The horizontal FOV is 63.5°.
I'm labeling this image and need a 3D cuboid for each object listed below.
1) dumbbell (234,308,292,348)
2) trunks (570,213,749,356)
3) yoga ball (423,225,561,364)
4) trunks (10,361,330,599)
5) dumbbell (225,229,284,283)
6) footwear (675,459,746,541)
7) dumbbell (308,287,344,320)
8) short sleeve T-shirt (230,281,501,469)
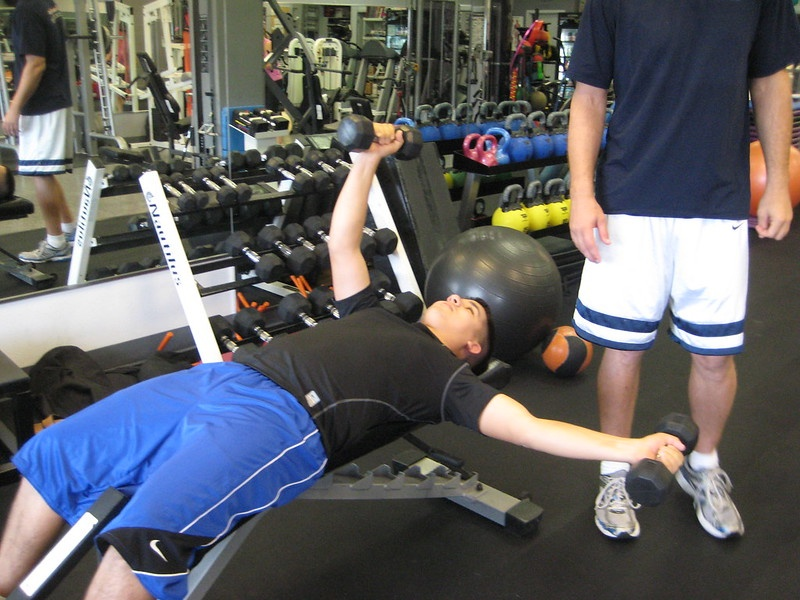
[{"bbox_3d":[-0.473,0.101,2.243,0.062,0.056,0.144,-40,41,-26],"label":"dumbbell"},{"bbox_3d":[0.701,-0.049,1.734,0.542,0.363,0.273,6,7,2],"label":"trunks"},{"bbox_3d":[0.416,-0.055,2.946,0.650,0.603,0.586,15,0,-7],"label":"yoga ball"},{"bbox_3d":[-0.445,0.435,1.431,0.498,0.186,0.497,-27,40,-30],"label":"trunks"},{"bbox_3d":[-0.562,-0.177,2.542,0.280,0.106,0.121,24,47,23],"label":"dumbbell"},{"bbox_3d":[0.880,0.565,1.937,0.115,0.110,0.277,-24,45,-8],"label":"footwear"},{"bbox_3d":[-0.263,0.020,2.397,0.079,0.064,0.261,20,1,-36],"label":"dumbbell"},{"bbox_3d":[-0.053,0.207,1.587,0.418,0.189,0.665,-17,34,-37],"label":"short sleeve T-shirt"}]
